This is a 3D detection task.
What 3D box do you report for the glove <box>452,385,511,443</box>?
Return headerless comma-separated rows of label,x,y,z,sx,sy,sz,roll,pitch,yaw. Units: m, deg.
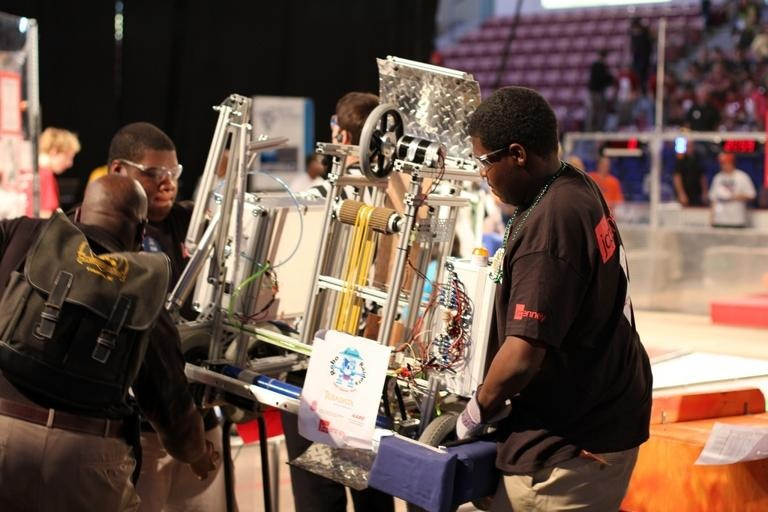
glove,0.412,0.733,3.358,0.181,0.280,0.214,42,-12,6
